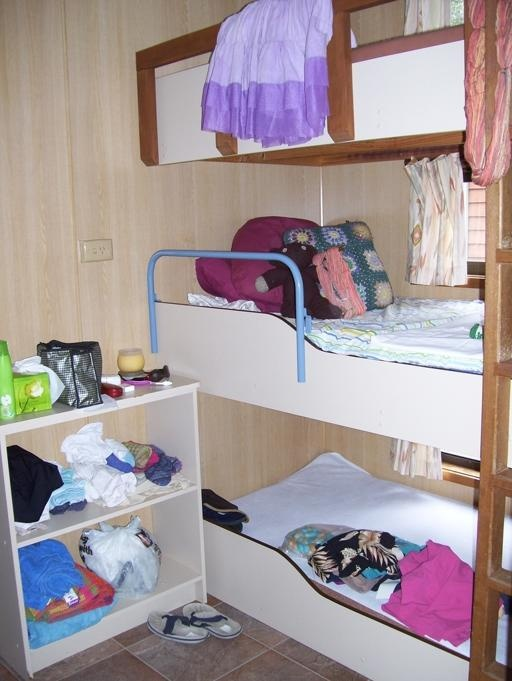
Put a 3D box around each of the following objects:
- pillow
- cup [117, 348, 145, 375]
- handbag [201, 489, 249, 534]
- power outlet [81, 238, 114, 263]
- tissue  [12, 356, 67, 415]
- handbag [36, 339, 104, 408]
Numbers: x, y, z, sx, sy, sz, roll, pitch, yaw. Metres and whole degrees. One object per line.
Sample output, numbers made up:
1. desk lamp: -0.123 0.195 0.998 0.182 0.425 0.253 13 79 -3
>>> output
1. pillow: 0.156 -0.311 2.231 0.564 0.176 0.569 5 51 -7
2. cup: -0.453 0.072 2.022 0.088 0.086 0.091 -2 10 0
3. handbag: -0.135 0.672 2.153 0.173 0.053 0.141 28 6 2
4. power outlet: -0.584 -0.330 2.014 0.025 0.068 0.148 -2 2 36
5. tissue : -0.667 0.131 1.668 0.139 0.100 0.141 12 10 32
6. handbag: -0.563 0.100 1.809 0.214 0.236 0.170 -5 8 -2
